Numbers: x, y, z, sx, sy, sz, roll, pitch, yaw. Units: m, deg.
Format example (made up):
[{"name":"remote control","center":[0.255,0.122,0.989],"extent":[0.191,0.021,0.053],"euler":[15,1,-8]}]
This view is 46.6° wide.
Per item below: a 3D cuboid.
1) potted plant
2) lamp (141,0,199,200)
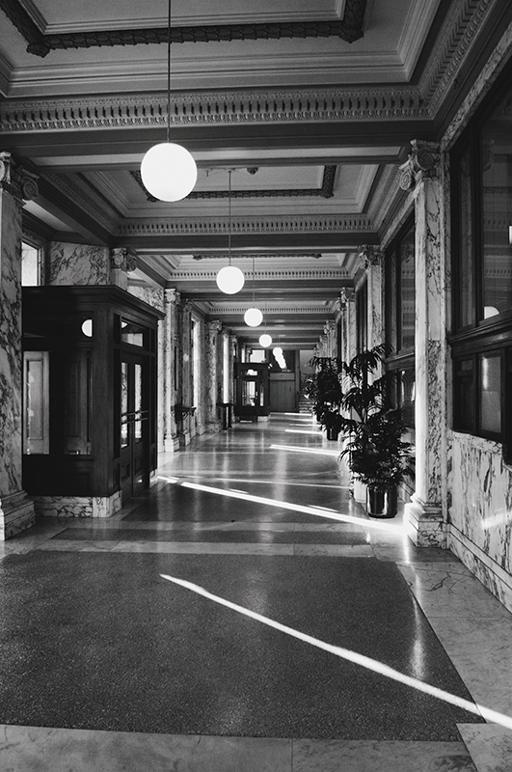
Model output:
[{"name":"potted plant","center":[1.242,0.422,7.012],"extent":[1.063,1.843,3.112],"euler":[0,0,7]},{"name":"lamp","center":[-0.592,-1.842,4.001],"extent":[0.332,1.430,1.125],"euler":[0,0,-10]}]
